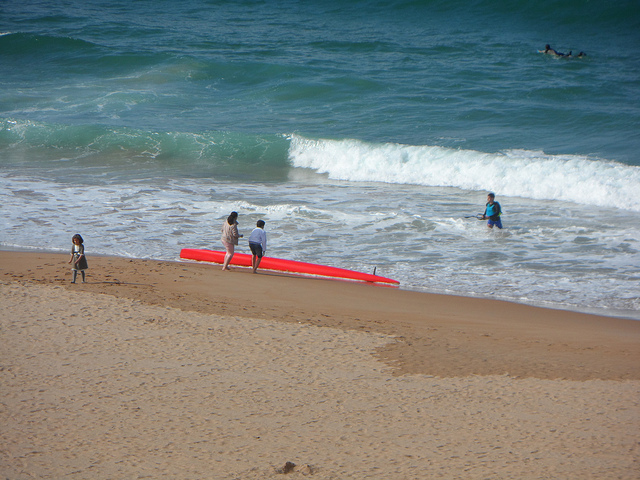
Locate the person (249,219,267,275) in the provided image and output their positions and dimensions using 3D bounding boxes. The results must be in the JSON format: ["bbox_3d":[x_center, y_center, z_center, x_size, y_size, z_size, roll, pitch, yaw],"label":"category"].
[{"bbox_3d":[-1.536,0.177,23.734,0.413,1.325,0.543,7,11,-4],"label":"person"}]

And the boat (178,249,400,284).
[{"bbox_3d":[-0.872,0.695,23.990,5.879,0.227,0.465,5,12,6],"label":"boat"}]

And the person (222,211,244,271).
[{"bbox_3d":[-2.194,0.023,23.886,0.474,1.470,0.792,7,11,-6],"label":"person"}]

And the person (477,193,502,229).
[{"bbox_3d":[4.937,-0.817,27.325,0.576,0.978,0.595,7,10,-1],"label":"person"}]

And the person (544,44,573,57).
[{"bbox_3d":[10.656,-8.348,42.907,0.954,0.528,1.208,0,8,-25],"label":"person"}]

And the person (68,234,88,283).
[{"bbox_3d":[-5.477,0.415,22.018,0.374,1.116,0.525,5,11,-13],"label":"person"}]
